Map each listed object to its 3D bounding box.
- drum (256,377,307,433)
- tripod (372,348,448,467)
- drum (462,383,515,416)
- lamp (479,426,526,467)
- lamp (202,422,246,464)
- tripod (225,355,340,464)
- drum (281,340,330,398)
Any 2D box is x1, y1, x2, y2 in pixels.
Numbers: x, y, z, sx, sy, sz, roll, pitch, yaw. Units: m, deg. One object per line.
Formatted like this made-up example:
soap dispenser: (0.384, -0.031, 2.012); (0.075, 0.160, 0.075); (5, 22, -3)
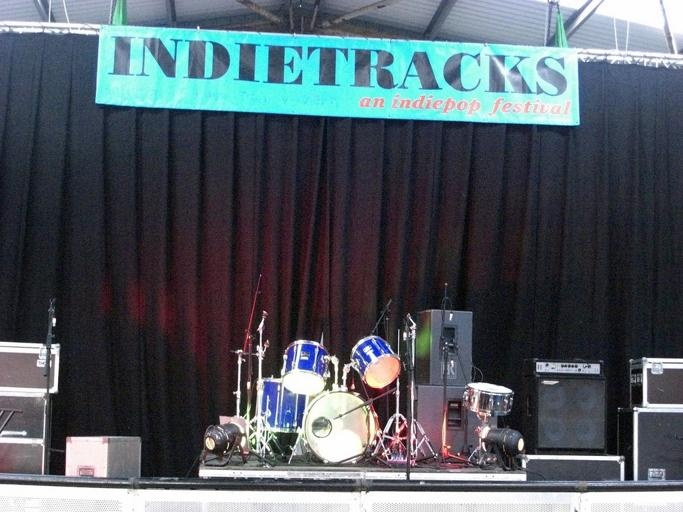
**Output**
drum: (-0.555, 1.404, 9.566); (0.391, 0.485, 0.439); (0, -10, 4)
tripod: (0.582, 1.510, 9.564); (0.752, 1.305, 0.777); (0, -12, 4)
drum: (1.280, 1.289, 9.067); (0.331, 0.293, 0.444); (7, -10, -40)
lamp: (1.449, 1.695, 9.097); (0.361, 0.342, 0.373); (4, -4, 40)
lamp: (-1.055, 1.655, 9.057); (0.294, 0.390, 0.402); (5, 8, 25)
tripod: (-0.529, 1.309, 9.391); (0.827, 1.056, 0.927); (5, -23, -9)
drum: (-0.349, 1.001, 9.180); (0.394, 0.473, 0.323); (-1, -7, 13)
